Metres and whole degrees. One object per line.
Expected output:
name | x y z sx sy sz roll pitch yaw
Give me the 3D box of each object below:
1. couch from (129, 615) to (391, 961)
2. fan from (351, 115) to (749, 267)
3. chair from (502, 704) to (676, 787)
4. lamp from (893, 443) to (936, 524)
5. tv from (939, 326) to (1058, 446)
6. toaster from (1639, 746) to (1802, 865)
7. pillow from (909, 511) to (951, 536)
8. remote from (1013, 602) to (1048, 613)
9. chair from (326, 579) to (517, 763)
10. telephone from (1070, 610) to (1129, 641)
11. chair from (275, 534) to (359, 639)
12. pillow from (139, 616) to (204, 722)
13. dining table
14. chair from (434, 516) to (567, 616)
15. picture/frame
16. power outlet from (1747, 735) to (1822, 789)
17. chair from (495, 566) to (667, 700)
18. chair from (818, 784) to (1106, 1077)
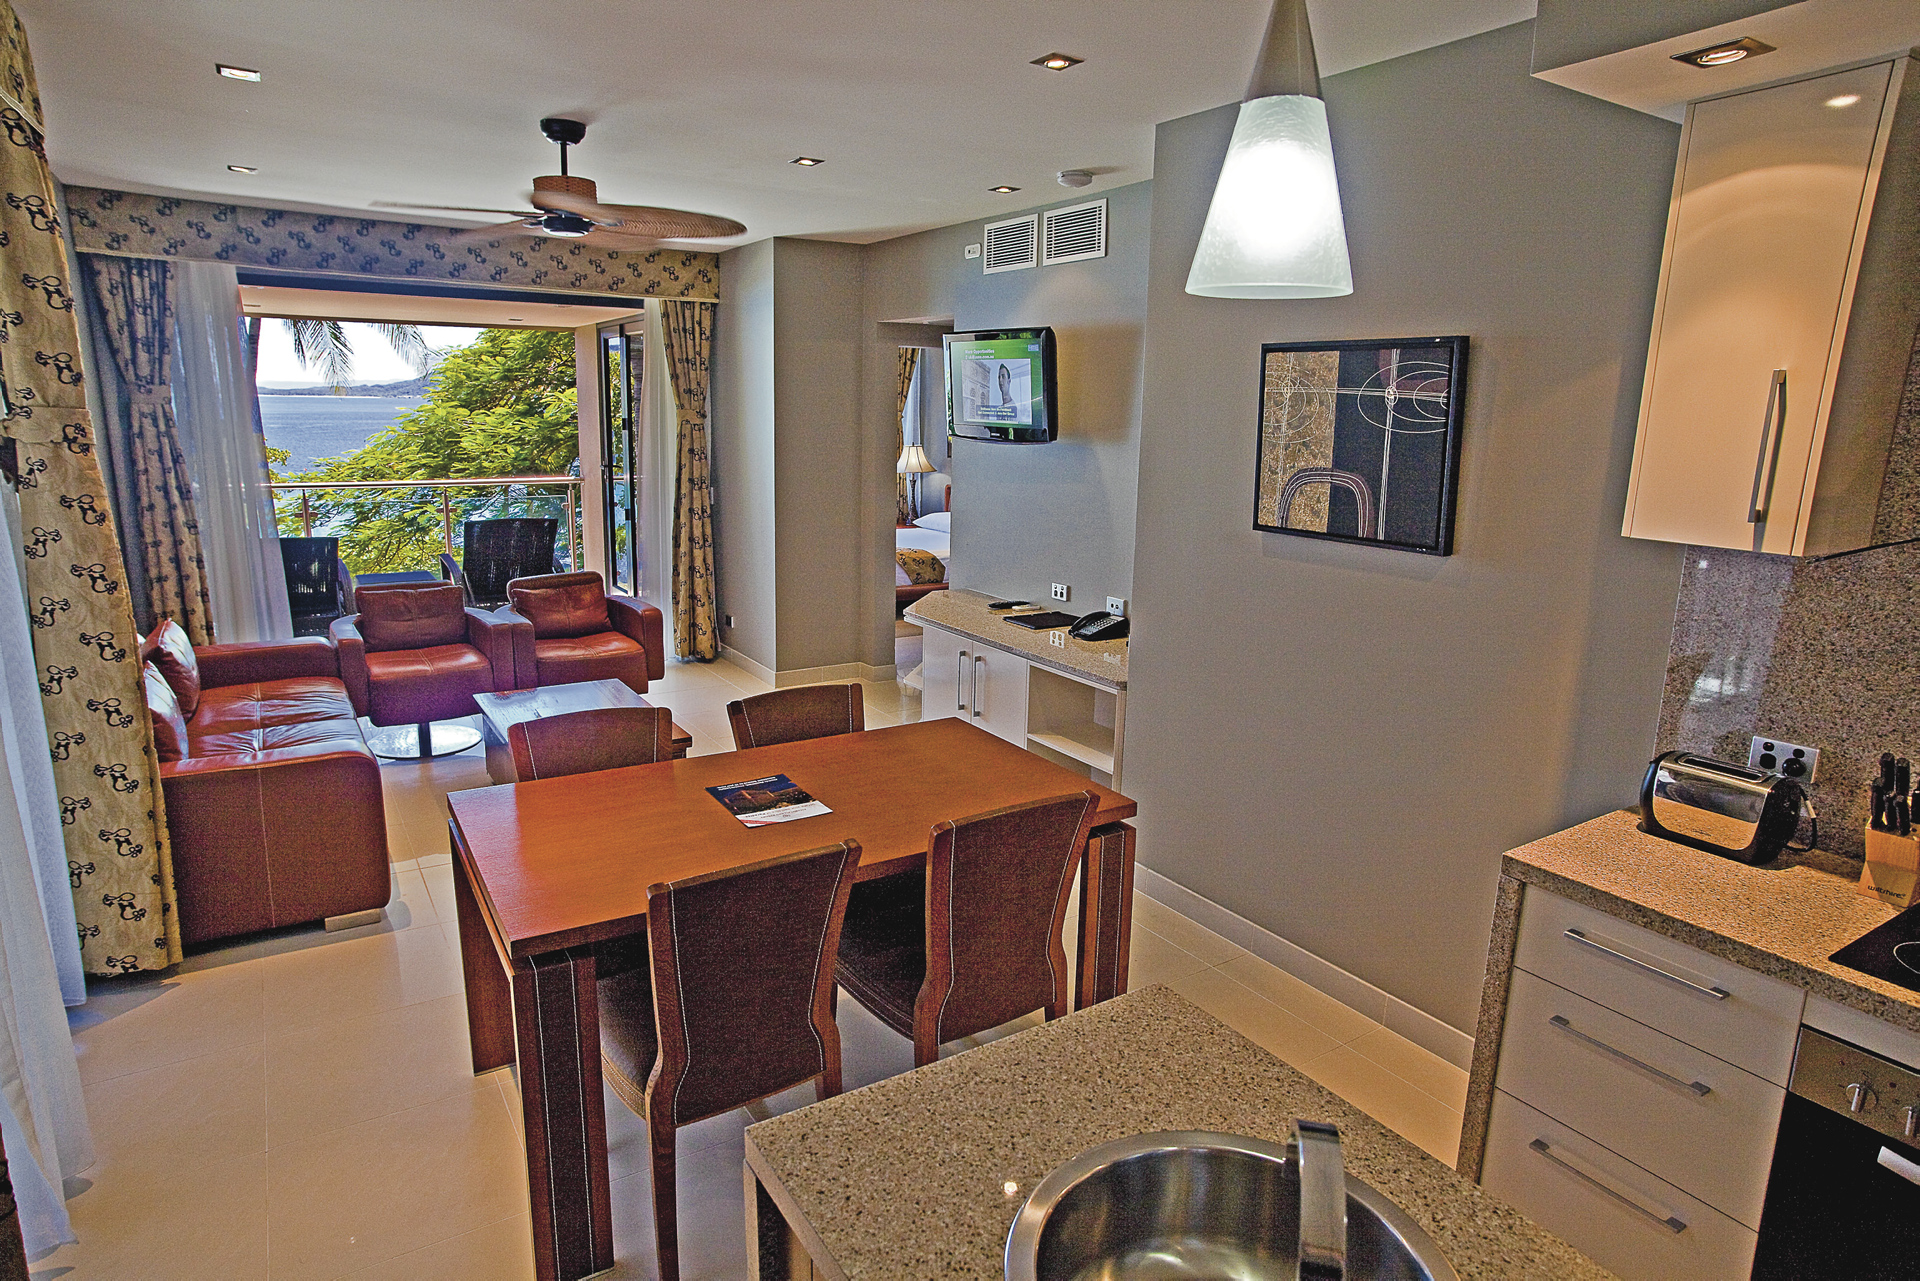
couch | -3.252 0.480 5.911 0.968 0.773 2.172 -5 16 -31
fan | -1.660 -1.901 5.379 1.453 0.475 1.493 -3 14 -11
chair | -1.325 0.370 4.669 0.427 0.197 0.314 -7 13 -31
lamp | -0.391 -1.383 11.468 0.311 0.707 0.682 -2 12 -1
tv | 0.211 -1.296 6.706 0.100 0.579 0.854 -13 17 -33
toaster | 2.163 0.486 3.788 0.267 0.244 0.343 -3 16 -44
pillow | -0.241 -1.010 11.248 0.360 0.099 0.369 -11 14 -18
remote | 0.342 -0.163 6.715 0.107 0.034 0.065 -10 17 -41
chair | -2.817 0.149 7.240 1.133 1.212 0.912 -5 10 -40
telephone | 0.622 -0.060 6.042 0.246 0.084 0.354 -3 11 -9
chair | -4.247 -0.276 8.757 0.445 0.700 0.420 0 10 -8
pillow | -3.512 0.108 5.861 0.146 0.454 0.457 -10 15 -10
dining table | -0.785 0.478 4.239 2.601 1.373 1.472 -8 15 -34
chair | -3.312 -0.623 9.502 0.804 0.738 0.725 -8 32 -31
picture/frame | 1.417 -0.691 4.574 0.090 0.837 0.817 -5 9 -44
power outlet | 2.346 0.351 3.733 0.020 0.101 0.148 0 4 -27
chair | -2.234 0.015 7.596 0.880 0.705 0.665 -10 19 -34
chair | -0.045 0.961 4.361 0.665 1.112 0.800 -9 20 -30
